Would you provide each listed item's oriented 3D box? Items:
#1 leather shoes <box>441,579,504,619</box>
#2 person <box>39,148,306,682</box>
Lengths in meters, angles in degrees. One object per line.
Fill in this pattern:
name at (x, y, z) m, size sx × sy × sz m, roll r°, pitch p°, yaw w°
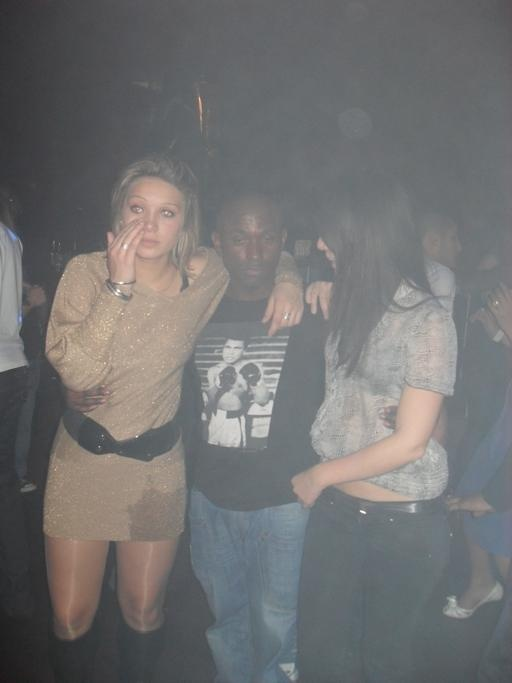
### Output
leather shoes at (0.934, 1.120, 3.128) m, size 0.256 × 0.073 × 0.125 m, roll -26°, pitch 30°, yaw 13°
person at (-0.449, 0.321, 2.522) m, size 0.569 × 1.854 × 0.508 m, roll 6°, pitch 16°, yaw -9°
